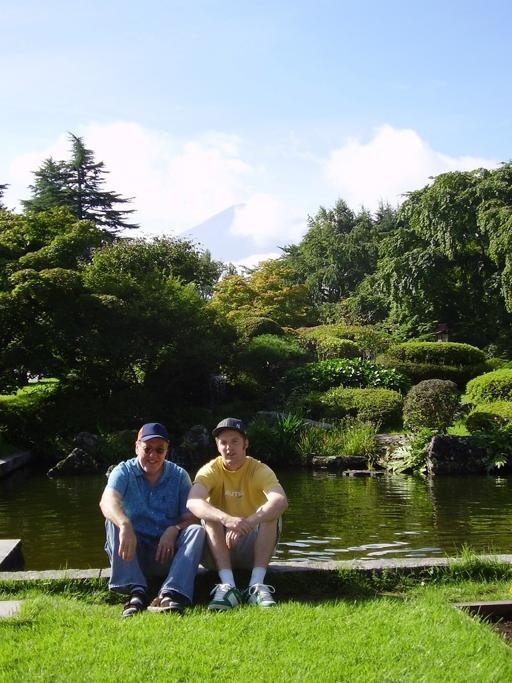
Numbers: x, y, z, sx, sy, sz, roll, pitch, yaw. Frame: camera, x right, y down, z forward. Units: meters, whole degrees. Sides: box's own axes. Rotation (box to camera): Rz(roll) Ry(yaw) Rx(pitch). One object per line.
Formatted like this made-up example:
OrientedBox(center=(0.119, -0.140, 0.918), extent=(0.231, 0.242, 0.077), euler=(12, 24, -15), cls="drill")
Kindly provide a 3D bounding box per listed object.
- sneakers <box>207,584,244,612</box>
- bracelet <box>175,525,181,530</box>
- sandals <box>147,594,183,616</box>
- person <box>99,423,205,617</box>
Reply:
OrientedBox(center=(-0.169, 1.354, 4.008), extent=(0.081, 0.080, 0.226), euler=(0, -6, 15), cls="sneakers")
OrientedBox(center=(-0.448, 1.090, 4.435), extent=(0.030, 0.025, 0.053), euler=(0, -7, -10), cls="bracelet")
OrientedBox(center=(-0.462, 1.371, 3.958), extent=(0.198, 0.082, 0.236), euler=(0, -7, -7), cls="sandals")
OrientedBox(center=(-0.580, 0.978, 4.351), extent=(0.590, 1.015, 0.763), euler=(0, -7, -11), cls="person")
